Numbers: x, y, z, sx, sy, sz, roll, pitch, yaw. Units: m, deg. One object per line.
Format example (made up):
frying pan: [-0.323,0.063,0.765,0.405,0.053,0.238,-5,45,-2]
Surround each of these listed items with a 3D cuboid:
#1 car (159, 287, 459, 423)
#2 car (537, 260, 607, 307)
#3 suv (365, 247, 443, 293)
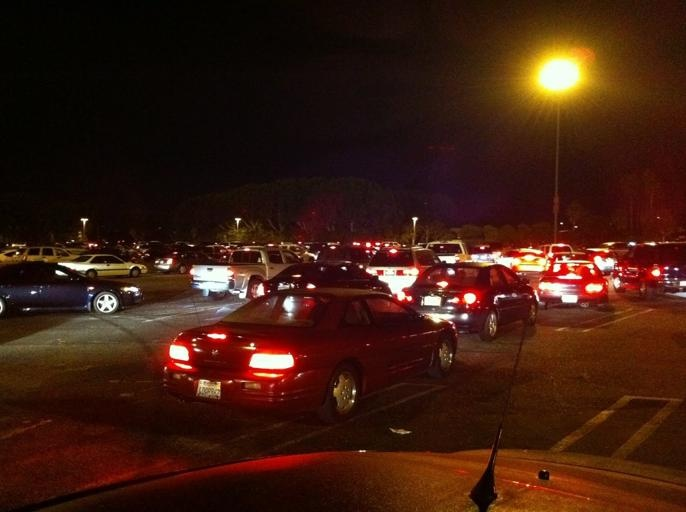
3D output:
car: [-0.037,1.337,7.991,1.782,1.669,4.900,1,-2,45]
car: [8.074,0.987,18.082,2.204,1.321,0.893,2,-1,18]
suv: [2.386,0.349,19.146,1.394,1.149,2.540,3,11,30]
